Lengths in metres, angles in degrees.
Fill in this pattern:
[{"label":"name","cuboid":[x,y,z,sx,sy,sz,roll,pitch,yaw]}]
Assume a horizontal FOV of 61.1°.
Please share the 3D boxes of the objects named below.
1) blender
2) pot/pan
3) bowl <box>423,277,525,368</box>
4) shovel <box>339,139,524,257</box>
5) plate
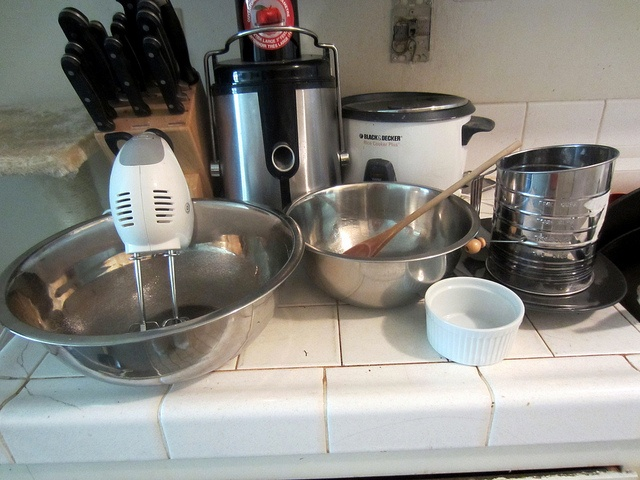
[{"label":"blender","cuboid":[-0.261,0.004,0.849,0.095,0.366,0.094,2,32,-6]},{"label":"pot/pan","cuboid":[0.174,-0.189,1.136,0.353,0.215,0.284,11,26,27]},{"label":"bowl","cuboid":[0.227,0.138,0.838,0.124,0.060,0.118,6,16,-2]},{"label":"shovel","cuboid":[0.168,-0.065,0.938,0.350,0.185,0.132,-16,29,-27]},{"label":"plate","cuboid":[0.373,0.063,0.918,0.168,0.030,0.161,-26,38,-37]}]
